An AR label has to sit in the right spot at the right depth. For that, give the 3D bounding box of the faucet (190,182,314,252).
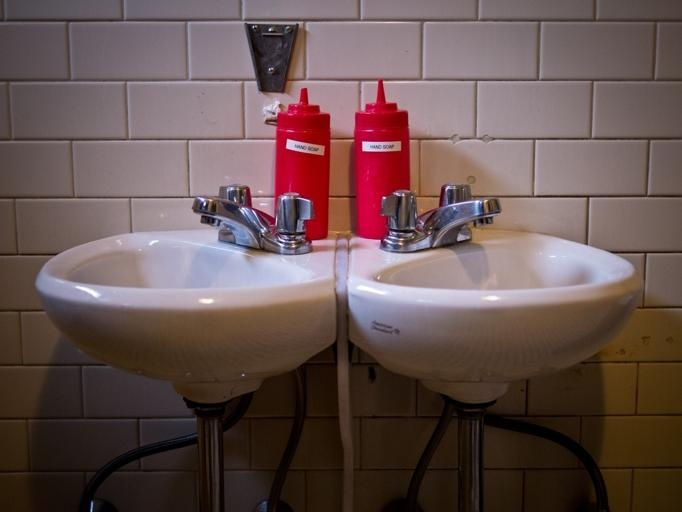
[{"bbox_3d":[-0.169,-0.076,1.422,0.263,0.115,0.096,10,12,25],"label":"faucet"}]

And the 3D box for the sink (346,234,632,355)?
[{"bbox_3d":[0.273,0.074,1.337,0.519,0.239,0.376,3,4,-1],"label":"sink"}]
